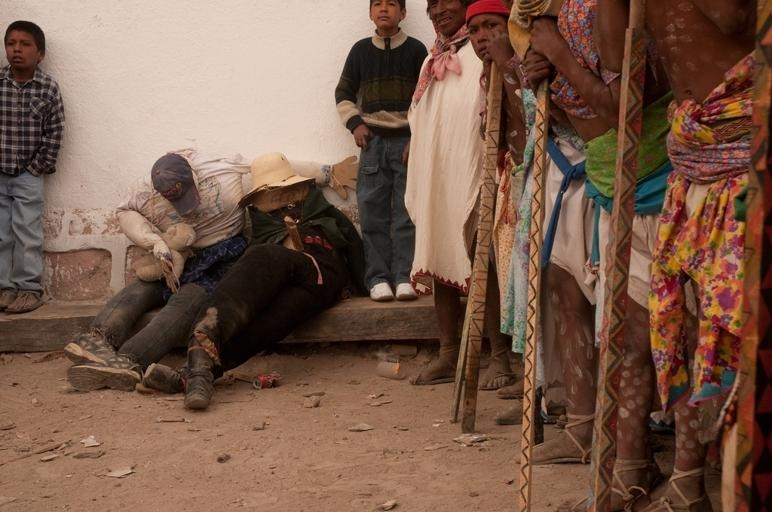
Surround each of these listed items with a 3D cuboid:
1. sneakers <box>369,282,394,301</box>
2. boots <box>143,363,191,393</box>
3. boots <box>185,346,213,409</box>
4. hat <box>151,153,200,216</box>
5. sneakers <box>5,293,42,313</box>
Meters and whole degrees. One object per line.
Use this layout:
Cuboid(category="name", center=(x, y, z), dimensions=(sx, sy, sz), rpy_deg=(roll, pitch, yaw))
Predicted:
Cuboid(category="sneakers", center=(-0.033, 0.303, 5.834), dimensions=(0.199, 0.152, 0.210), rpy_deg=(-1, 10, 0))
Cuboid(category="boots", center=(-1.566, 0.866, 4.902), dimensions=(0.448, 0.159, 0.188), rpy_deg=(8, -31, -37))
Cuboid(category="boots", center=(-1.279, 0.849, 4.703), dimensions=(0.202, 0.365, 0.368), rpy_deg=(-4, 10, -15))
Cuboid(category="hat", center=(-1.740, -0.578, 5.650), dimensions=(0.350, 0.543, 0.292), rpy_deg=(-35, -39, 8))
Cuboid(category="sneakers", center=(-3.161, 0.411, 6.049), dimensions=(0.127, 0.108, 0.276), rpy_deg=(3, 8, 7))
